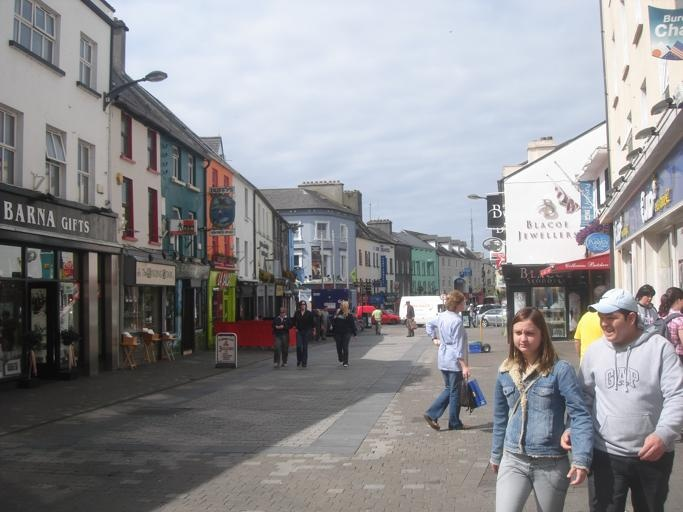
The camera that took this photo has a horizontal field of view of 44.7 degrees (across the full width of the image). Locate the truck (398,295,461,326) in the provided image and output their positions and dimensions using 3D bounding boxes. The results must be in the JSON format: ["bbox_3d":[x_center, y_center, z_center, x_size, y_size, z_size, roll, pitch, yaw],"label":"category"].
[{"bbox_3d":[4.554,3.201,50.780,3.799,2.322,2.431,-4,-4,20],"label":"truck"}]

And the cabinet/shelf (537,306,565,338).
[{"bbox_3d":[7.652,2.454,30.030,0.428,1.262,1.168,10,-9,-44],"label":"cabinet/shelf"}]

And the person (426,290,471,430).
[{"bbox_3d":[1.640,1.639,13.132,0.677,1.840,1.235,0,0,6],"label":"person"}]

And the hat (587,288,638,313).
[{"bbox_3d":[2.649,0.446,8.047,0.332,0.184,0.236,1,-7,-6],"label":"hat"}]

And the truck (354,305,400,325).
[{"bbox_3d":[2.346,4.294,56.370,2.946,1.555,1.863,-3,0,-10],"label":"truck"}]

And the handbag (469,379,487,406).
[{"bbox_3d":[2.062,2.061,12.465,0.336,0.357,0.268,0,-1,-45],"label":"handbag"}]

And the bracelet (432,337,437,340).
[{"bbox_3d":[1.450,1.302,13.084,0.035,0.037,0.035,-3,-11,0],"label":"bracelet"}]

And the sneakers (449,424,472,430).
[{"bbox_3d":[1.812,2.689,12.991,0.275,0.121,0.098,-4,-1,-2],"label":"sneakers"}]
